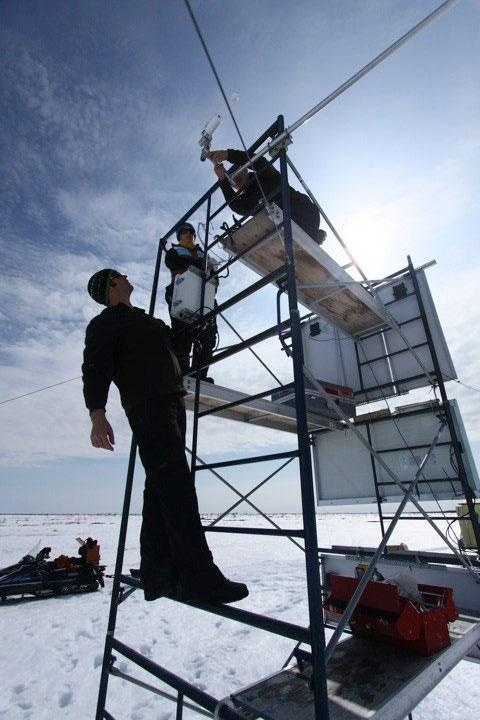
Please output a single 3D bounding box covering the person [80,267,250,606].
[{"bbox_3d":[-0.537,0.329,2.598,0.784,2.178,1.131,0,-9,-23],"label":"person"}]
